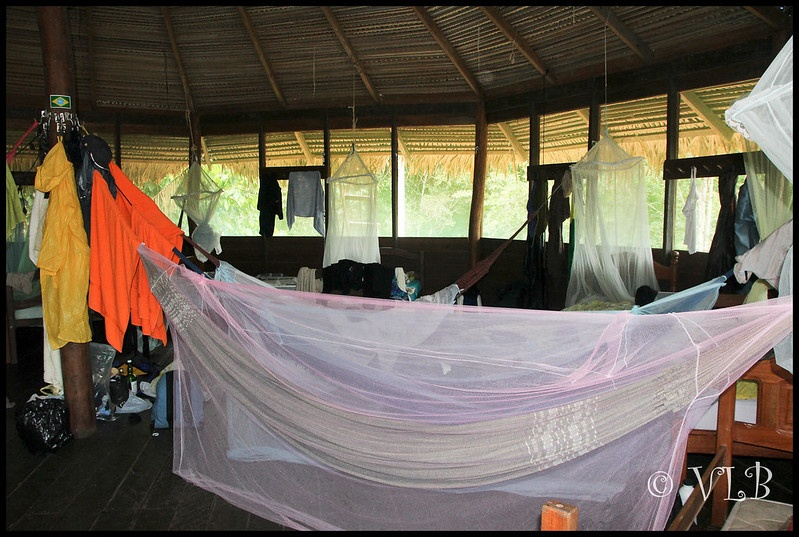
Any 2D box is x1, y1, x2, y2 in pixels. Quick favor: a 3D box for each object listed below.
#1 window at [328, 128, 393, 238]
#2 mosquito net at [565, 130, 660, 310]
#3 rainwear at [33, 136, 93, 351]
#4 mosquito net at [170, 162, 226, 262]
[{"bbox_3d":[-0.452,-0.950,7.453,0.824,1.478,0.043,-1,-23,2],"label":"window"},{"bbox_3d":[1.788,-0.347,5.426,0.821,1.647,0.101,-5,28,10],"label":"mosquito net"},{"bbox_3d":[-2.288,-0.149,4.328,0.324,1.427,0.248,0,1,-24],"label":"rainwear"},{"bbox_3d":[-2.245,-0.633,7.163,0.595,1.054,0.559,-6,2,-21],"label":"mosquito net"}]
